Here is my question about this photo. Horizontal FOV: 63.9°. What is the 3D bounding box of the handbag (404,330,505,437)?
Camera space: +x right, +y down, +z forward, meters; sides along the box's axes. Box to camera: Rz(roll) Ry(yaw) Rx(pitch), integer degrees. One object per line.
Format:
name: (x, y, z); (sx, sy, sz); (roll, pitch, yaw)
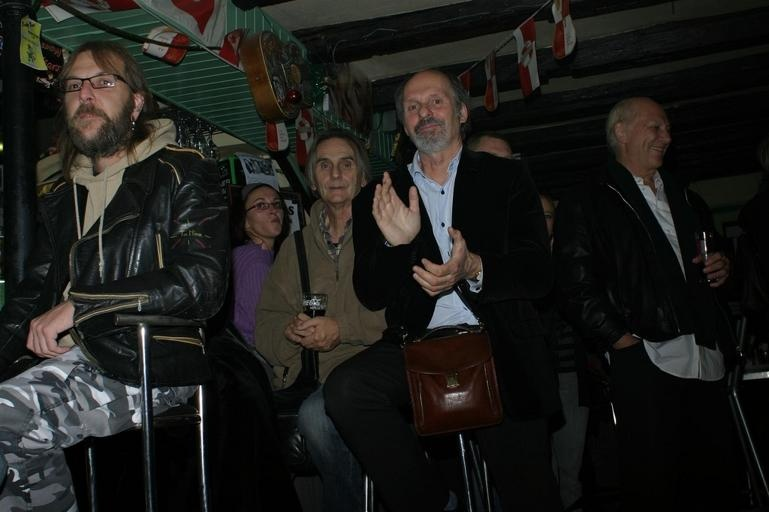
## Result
handbag: (0.345, 0.610, 3.204); (0.470, 0.535, 0.202); (-10, 13, 4)

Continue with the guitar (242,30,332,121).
guitar: (-0.828, -1.883, 6.461); (0.249, 0.792, 1.598); (-18, 6, 31)

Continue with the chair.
chair: (-1.067, 0.779, 3.032); (0.420, 1.012, 0.398); (-2, -5, -25)

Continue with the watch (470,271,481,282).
watch: (0.463, 0.110, 3.146); (0.049, 0.026, 0.056); (-7, -14, -24)

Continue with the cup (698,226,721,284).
cup: (2.042, 0.015, 3.910); (0.095, 0.352, 0.166); (-7, -5, 26)
